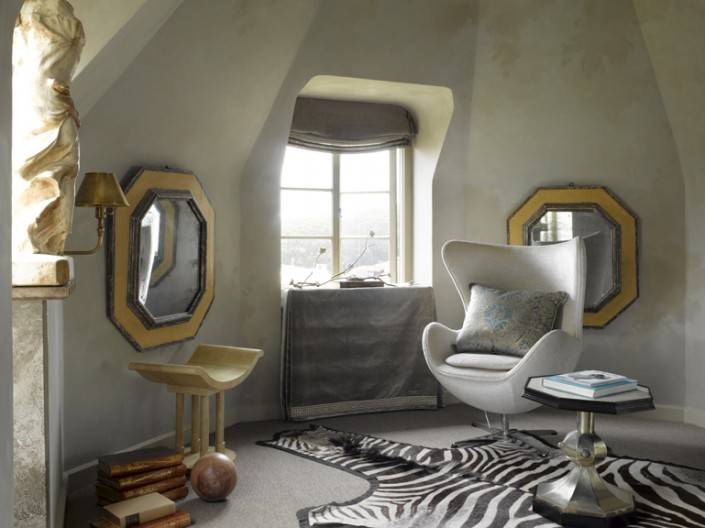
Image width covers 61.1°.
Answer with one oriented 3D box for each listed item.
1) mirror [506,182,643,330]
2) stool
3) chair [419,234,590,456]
[{"bbox_3d":[1.718,-0.043,4.490,1.211,1.354,0.094,0,-2,17],"label":"mirror"},{"bbox_3d":[-0.982,0.766,3.807,0.682,0.776,0.930,0,-1,21],"label":"stool"},{"bbox_3d":[0.973,0.549,4.488,1.347,1.620,1.308,-6,-11,42],"label":"chair"}]
